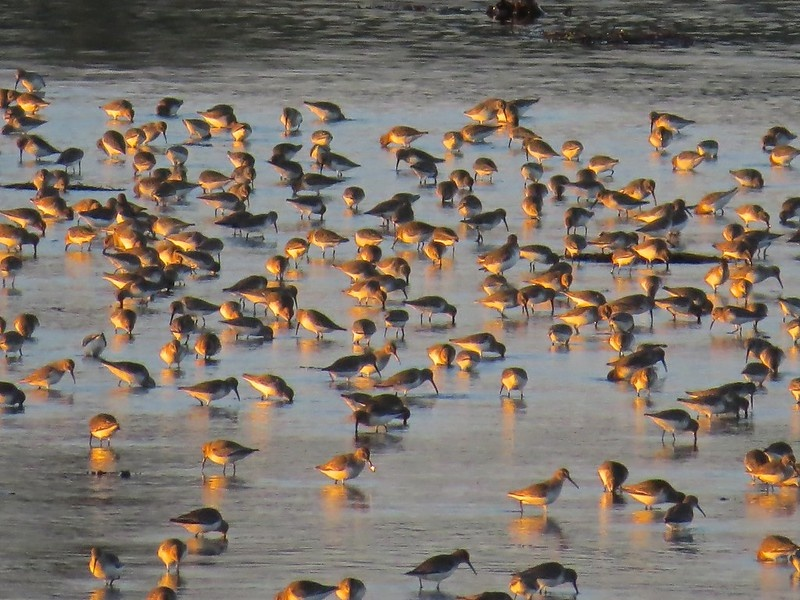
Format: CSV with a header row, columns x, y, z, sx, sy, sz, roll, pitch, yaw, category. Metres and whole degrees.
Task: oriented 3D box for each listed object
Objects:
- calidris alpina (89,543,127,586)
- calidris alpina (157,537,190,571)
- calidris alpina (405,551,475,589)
x,y,z,sx,sy,sz,roll,pitch,yaw,category
-4.583,4.133,29.502,0.506,0.568,0.460,2,2,-9,calidris alpina
-3.614,4.003,29.894,0.443,0.488,0.541,2,1,-6,calidris alpina
0.615,4.253,29.709,1.205,0.381,0.498,-11,14,-29,calidris alpina
